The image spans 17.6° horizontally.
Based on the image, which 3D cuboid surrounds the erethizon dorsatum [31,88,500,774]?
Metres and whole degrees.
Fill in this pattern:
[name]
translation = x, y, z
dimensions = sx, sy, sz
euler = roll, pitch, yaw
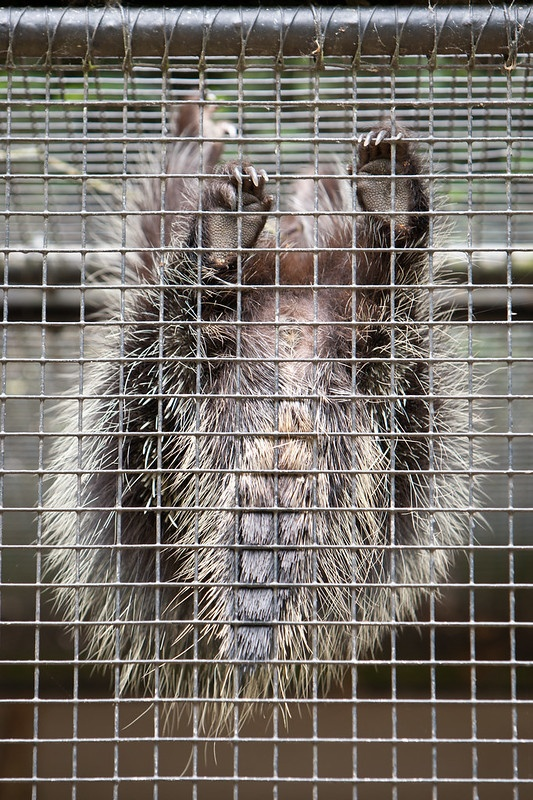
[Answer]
[erethizon dorsatum]
translation = -0.017, 0.093, 2.541
dimensions = 0.663, 1.048, 0.847
euler = 0, 4, 7
